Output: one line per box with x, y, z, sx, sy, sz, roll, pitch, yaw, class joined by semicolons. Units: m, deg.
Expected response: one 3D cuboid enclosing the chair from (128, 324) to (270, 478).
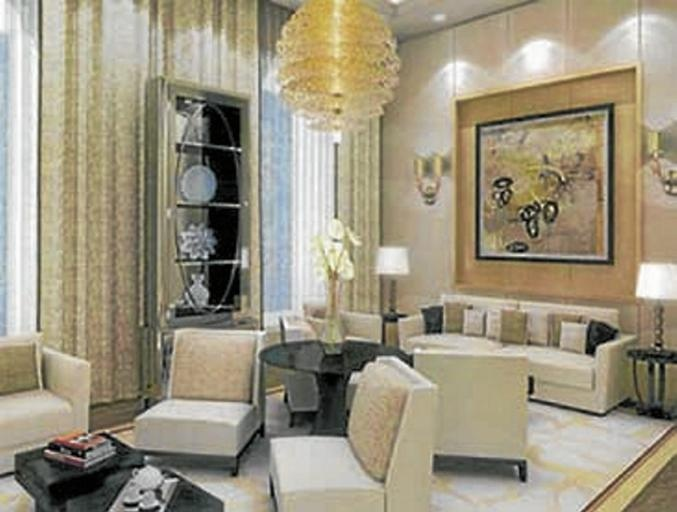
-0.977;1.031;4.507;0.875;0.866;0.948;1;-3;10;chair

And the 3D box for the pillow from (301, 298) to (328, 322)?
-0.226;0.567;6.365;0.331;0.321;0.183;1;-6;2;pillow

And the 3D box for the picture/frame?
2.170;-0.728;6.244;1.805;1.863;0.131;0;1;40;picture/frame

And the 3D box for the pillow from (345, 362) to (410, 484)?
0.252;1.038;3.713;0.245;0.669;0.624;8;-3;-18;pillow

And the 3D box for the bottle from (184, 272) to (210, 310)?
-1.348;0.351;5.862;0.273;0.460;0.327;0;-1;0;bottle

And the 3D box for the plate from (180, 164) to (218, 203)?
-1.355;-0.676;5.848;0.343;0.335;0.093;6;-4;-43;plate

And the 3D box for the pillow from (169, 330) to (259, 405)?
-0.956;0.873;4.772;0.567;0.545;0.190;4;-11;1;pillow
